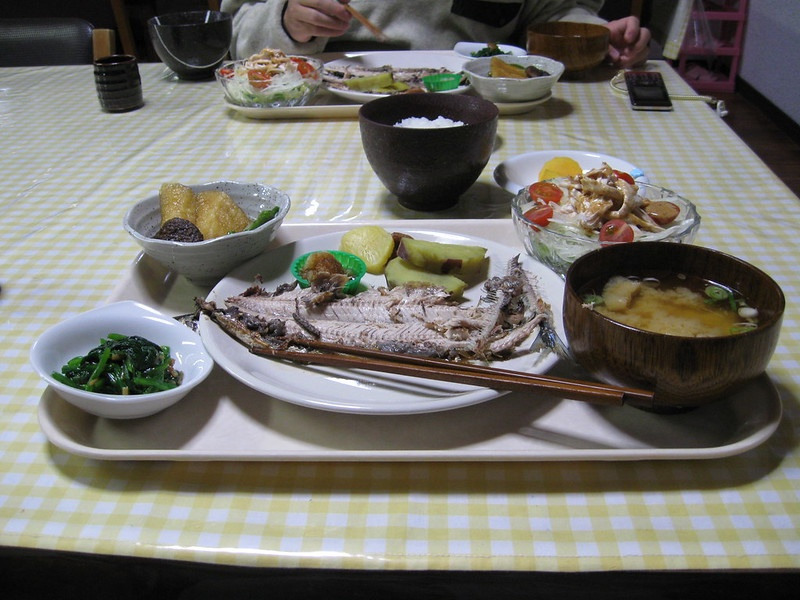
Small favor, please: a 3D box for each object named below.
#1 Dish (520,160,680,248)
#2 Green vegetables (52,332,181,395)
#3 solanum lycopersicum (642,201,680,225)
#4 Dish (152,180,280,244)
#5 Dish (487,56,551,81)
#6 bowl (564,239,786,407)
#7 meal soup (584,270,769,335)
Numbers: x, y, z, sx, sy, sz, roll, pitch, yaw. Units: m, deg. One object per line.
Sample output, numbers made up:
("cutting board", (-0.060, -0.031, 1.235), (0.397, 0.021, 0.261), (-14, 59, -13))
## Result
("Dish", (0.469, -0.205, 1.434), (0.328, 0.108, 0.268), (-6, 23, -13))
("Green vegetables", (-0.522, 0.132, 1.151), (0.158, 0.044, 0.150), (14, 17, 28))
("solanum lycopersicum", (0.614, -0.205, 1.410), (0.082, 0.022, 0.062), (-4, 37, -1))
("Dish", (-0.478, -0.221, 1.553), (0.253, 0.077, 0.251), (-14, 27, -43))
("Dish", (0.493, -0.937, 2.473), (0.212, 0.041, 0.161), (3, 34, 2))
("bowl", (0.413, 0.077, 1.141), (0.435, 0.199, 0.350), (7, 37, 14))
("meal soup", (0.578, -0.007, 1.252), (0.359, 0.058, 0.306), (3, -4, -25))
